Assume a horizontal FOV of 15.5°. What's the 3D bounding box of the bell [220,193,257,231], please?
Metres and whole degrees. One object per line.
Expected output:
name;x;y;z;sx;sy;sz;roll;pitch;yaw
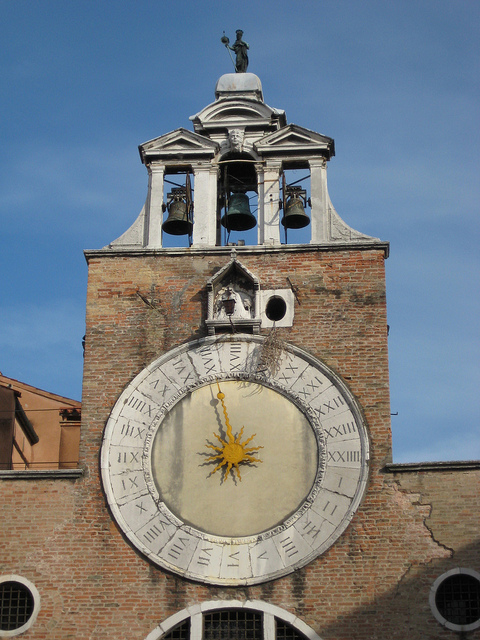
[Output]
bell;0.052;-2.310;36.612;0.573;0.744;0.863;-2;-5;0

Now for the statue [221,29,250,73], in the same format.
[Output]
statue;-0.046;-5.945;38.851;0.559;1.118;0.303;0;-25;-10

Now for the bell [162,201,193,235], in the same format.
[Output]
bell;-1.255;-2.149;36.448;0.582;0.697;0.571;-1;-5;-4

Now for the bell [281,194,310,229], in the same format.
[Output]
bell;1.137;-2.236;36.114;0.503;0.775;0.641;1;-6;-33
